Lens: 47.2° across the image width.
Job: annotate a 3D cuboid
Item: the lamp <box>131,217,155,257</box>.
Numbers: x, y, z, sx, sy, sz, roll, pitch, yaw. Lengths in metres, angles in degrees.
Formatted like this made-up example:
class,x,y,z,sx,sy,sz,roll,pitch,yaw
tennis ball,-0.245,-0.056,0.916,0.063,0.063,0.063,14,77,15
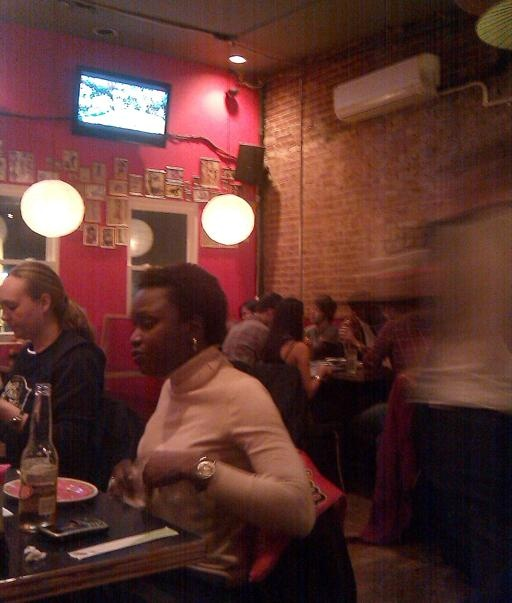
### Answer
class,x,y,z,sx,sy,sz,roll,pitch,yaw
lamp,-0.371,-0.205,1.881,0.065,0.141,0.133,2,4,0

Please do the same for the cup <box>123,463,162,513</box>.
class,x,y,z,sx,sy,sz,roll,pitch,yaw
cup,-0.218,0.353,1.140,0.080,0.105,0.106,4,-9,-27

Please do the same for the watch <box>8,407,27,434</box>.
class,x,y,z,sx,sy,sz,roll,pitch,yaw
watch,-0.590,0.292,1.446,0.040,0.051,0.060,30,11,-33

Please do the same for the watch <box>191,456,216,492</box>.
class,x,y,z,sx,sy,sz,roll,pitch,yaw
watch,-0.082,0.267,0.914,0.034,0.053,0.013,7,-4,33
